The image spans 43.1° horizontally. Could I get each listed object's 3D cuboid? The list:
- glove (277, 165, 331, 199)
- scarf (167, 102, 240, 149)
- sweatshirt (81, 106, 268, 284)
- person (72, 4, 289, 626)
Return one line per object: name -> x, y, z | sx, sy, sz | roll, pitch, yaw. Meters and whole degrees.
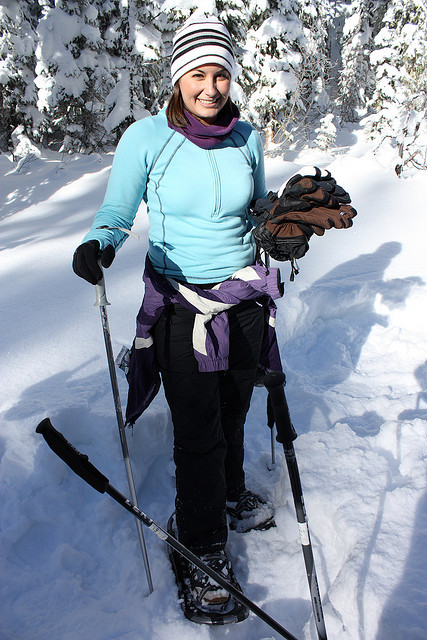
glove -> 0.349, -0.529, 2.121 | 0.194, 0.067, 0.139 | -33, 49, -22
scarf -> -0.005, -0.717, 1.987 | 0.300, 0.124, 0.162 | -22, 39, -37
sweatshirt -> -0.130, -0.452, 2.133 | 0.559, 0.700, 0.661 | -5, 30, -30
person -> -0.074, 0.050, 2.161 | 0.737, 2.201, 1.200 | 8, 32, 8
